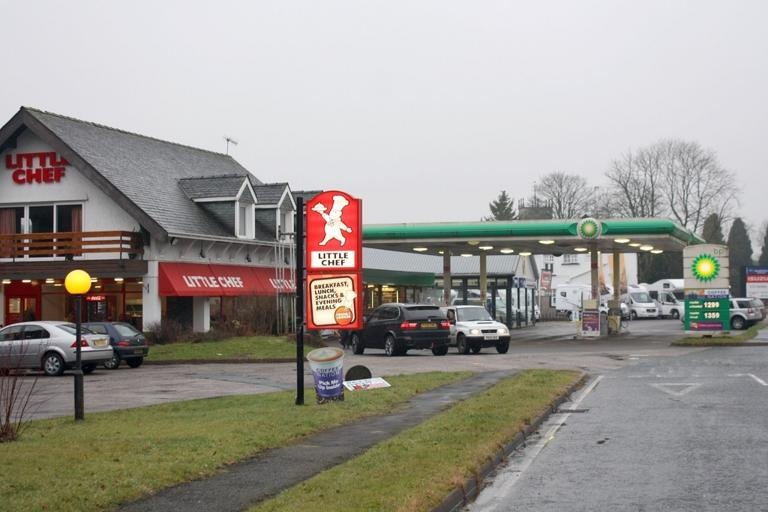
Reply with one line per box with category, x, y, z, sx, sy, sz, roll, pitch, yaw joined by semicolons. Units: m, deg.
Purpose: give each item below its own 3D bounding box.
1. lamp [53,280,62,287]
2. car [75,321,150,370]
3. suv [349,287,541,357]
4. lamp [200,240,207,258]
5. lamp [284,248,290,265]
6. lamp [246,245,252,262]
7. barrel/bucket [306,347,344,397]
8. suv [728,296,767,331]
lamp;-14.764;1.274;40.873;0.266;0.310;0.470;-3;2;-36
car;-9.659;3.108;32.077;2.378;1.013;1.308;1;1;25
suv;1.995;3.033;37.269;5.695;2.216;2.786;-1;-7;-14
lamp;-8.413;-0.286;41.936;0.136;0.783;0.424;-6;-7;27
lamp;-5.205;0.023;48.816;0.288;0.867;0.358;0;-4;-8
lamp;-6.865;-0.070;45.648;0.144;0.824;0.443;-5;-7;16
barrel/bucket;-1.398;3.042;22.371;0.938;1.123;0.861;-6;2;0
suv;20.743;3.253;51.825;2.541;1.079;1.511;0;-1;18
